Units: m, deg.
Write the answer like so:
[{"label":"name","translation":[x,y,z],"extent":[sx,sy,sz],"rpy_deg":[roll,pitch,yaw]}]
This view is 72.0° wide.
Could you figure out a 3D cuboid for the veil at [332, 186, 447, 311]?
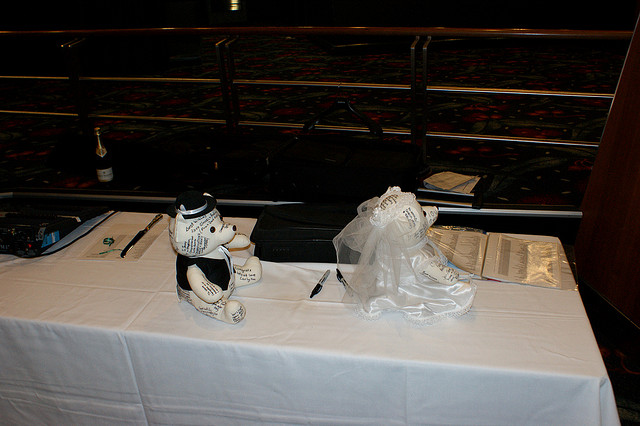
[{"label":"veil","translation":[0.209,0.145,1.594],"extent":[0.453,0.420,0.370],"rpy_deg":[-11,32,-26]}]

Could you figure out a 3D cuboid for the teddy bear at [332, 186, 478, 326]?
[{"label":"teddy bear","translation":[0.279,0.121,1.524],"extent":[0.437,0.365,0.483],"rpy_deg":[-22,32,-26]}]

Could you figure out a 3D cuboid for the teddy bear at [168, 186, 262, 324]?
[{"label":"teddy bear","translation":[-0.375,0.132,1.555],"extent":[0.326,0.438,0.352],"rpy_deg":[13,29,11]}]

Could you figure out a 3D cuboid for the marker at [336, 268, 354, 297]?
[{"label":"marker","translation":[0.089,0.254,1.581],"extent":[0.037,0.019,0.104],"rpy_deg":[-10,48,-38]}]

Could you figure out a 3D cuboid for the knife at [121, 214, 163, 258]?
[{"label":"knife","translation":[-0.752,0.091,1.833],"extent":[0.045,0.022,0.291],"rpy_deg":[21,28,10]}]

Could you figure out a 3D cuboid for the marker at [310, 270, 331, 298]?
[{"label":"marker","translation":[0.003,0.255,1.592],"extent":[0.031,0.024,0.141],"rpy_deg":[15,29,17]}]
